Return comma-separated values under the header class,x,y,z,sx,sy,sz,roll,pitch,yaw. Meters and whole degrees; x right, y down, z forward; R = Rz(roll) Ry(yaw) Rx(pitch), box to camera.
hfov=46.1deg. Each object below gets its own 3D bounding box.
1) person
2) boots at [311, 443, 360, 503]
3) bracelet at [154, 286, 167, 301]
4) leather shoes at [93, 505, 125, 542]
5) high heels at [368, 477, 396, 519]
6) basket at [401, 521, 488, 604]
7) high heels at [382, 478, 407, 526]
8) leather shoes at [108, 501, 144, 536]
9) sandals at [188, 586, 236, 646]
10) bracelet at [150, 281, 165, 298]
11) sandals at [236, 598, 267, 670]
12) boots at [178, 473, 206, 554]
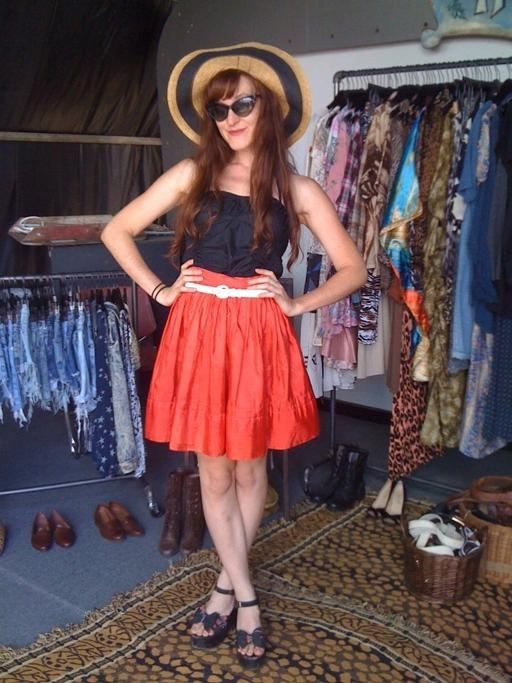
class,x,y,z,sx,sy,sz,roll,pitch,yaw
person,-0.041,0.115,1.658,0.689,1.620,0.395,-3,12,-14
boots,0.405,0.641,2.898,0.151,0.256,0.393,5,-2,36
bracelet,-0.262,-0.130,1.616,0.040,0.036,0.029,-12,1,-19
leather shoes,-0.621,0.768,2.559,0.072,0.063,0.187,-8,17,-26
high heels,0.567,0.714,2.699,0.073,0.213,0.044,-2,-39,38
basket,0.665,0.761,2.124,0.239,0.226,0.254,-2,0,29
high heels,0.631,0.722,2.705,0.072,0.073,0.198,-2,41,28
leather shoes,-0.563,0.758,2.604,0.076,0.052,0.208,-11,21,-35
sandals,-0.126,0.859,1.894,0.085,0.087,0.238,2,0,15
bracelet,-0.266,-0.138,1.619,0.010,0.040,0.041,41,24,5
sandals,-0.025,0.878,1.794,0.079,0.064,0.234,-1,9,-7
boots,-0.270,0.722,2.467,0.136,0.266,0.392,2,10,-6
